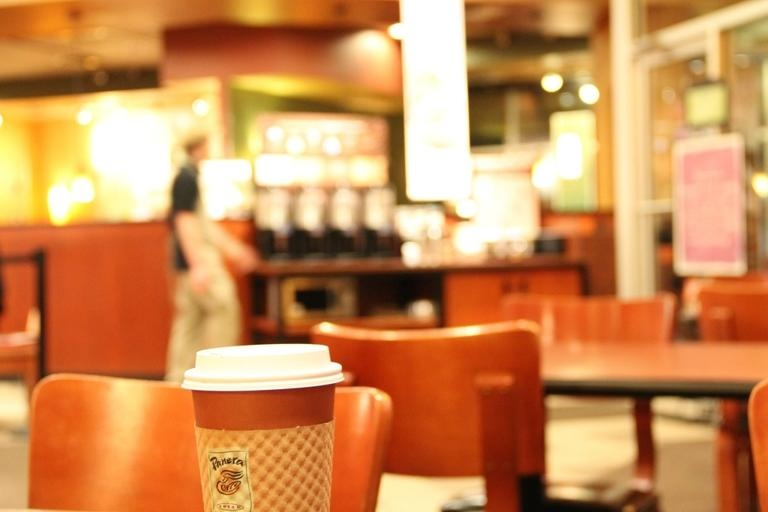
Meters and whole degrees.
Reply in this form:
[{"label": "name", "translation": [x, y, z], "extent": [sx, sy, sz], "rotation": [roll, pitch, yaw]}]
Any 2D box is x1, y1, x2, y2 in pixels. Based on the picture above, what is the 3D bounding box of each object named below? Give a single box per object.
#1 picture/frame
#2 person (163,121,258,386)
[{"label": "picture/frame", "translation": [1.487, -0.261, 4.175], "extent": [0.385, 0.645, 0.276], "rotation": [1, 4, 40]}, {"label": "person", "translation": [-0.952, 0.028, 4.667], "extent": [0.365, 1.173, 0.801], "rotation": [-1, 3, -7]}]
